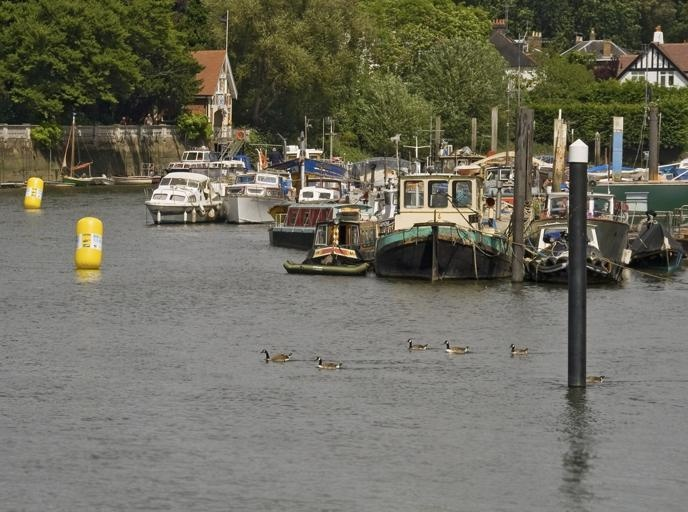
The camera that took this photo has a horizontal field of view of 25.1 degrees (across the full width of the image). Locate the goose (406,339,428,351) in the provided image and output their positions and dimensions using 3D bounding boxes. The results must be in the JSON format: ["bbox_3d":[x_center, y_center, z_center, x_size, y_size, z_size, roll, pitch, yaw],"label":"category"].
[{"bbox_3d":[2.468,3.090,53.476,0.881,0.551,0.291,4,0,-1],"label":"goose"}]

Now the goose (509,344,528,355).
[{"bbox_3d":[5.937,3.189,52.895,0.551,0.365,0.309,4,-1,-3],"label":"goose"}]

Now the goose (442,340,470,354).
[{"bbox_3d":[3.750,3.138,53.173,1.020,0.624,0.336,5,1,3],"label":"goose"}]
